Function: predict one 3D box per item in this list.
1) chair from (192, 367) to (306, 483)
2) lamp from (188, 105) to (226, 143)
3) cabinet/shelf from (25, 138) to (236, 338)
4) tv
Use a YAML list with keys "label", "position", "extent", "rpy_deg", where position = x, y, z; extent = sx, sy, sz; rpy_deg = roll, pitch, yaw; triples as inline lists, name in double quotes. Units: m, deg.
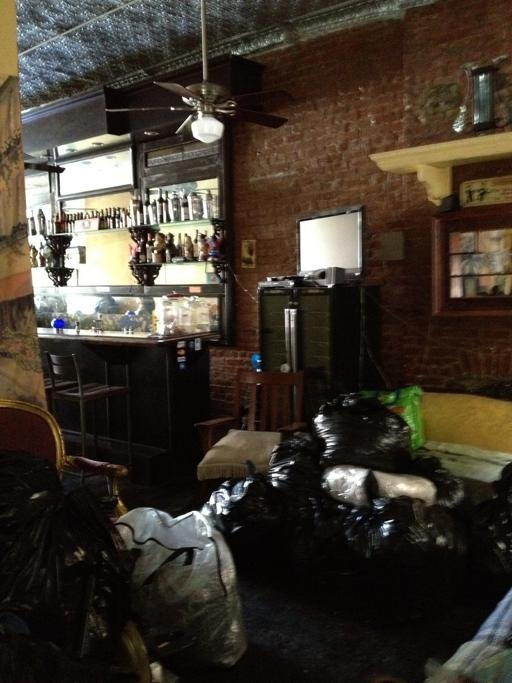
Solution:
- label: "chair"
  position: [-0.008, 0.536, 3.112]
  extent: [0.589, 0.650, 0.563]
  rpy_deg: [0, 1, 14]
- label: "lamp"
  position: [-0.289, -1.301, 3.272]
  extent: [0.241, 0.236, 0.231]
  rpy_deg: [-1, 1, 4]
- label: "cabinet/shelf"
  position: [-1.241, -1.120, 5.506]
  extent: [2.373, 2.092, 0.831]
  rpy_deg: [4, 8, 27]
- label: "tv"
  position: [0.576, -0.749, 4.026]
  extent: [0.083, 0.463, 0.683]
  rpy_deg: [-4, 6, -44]
